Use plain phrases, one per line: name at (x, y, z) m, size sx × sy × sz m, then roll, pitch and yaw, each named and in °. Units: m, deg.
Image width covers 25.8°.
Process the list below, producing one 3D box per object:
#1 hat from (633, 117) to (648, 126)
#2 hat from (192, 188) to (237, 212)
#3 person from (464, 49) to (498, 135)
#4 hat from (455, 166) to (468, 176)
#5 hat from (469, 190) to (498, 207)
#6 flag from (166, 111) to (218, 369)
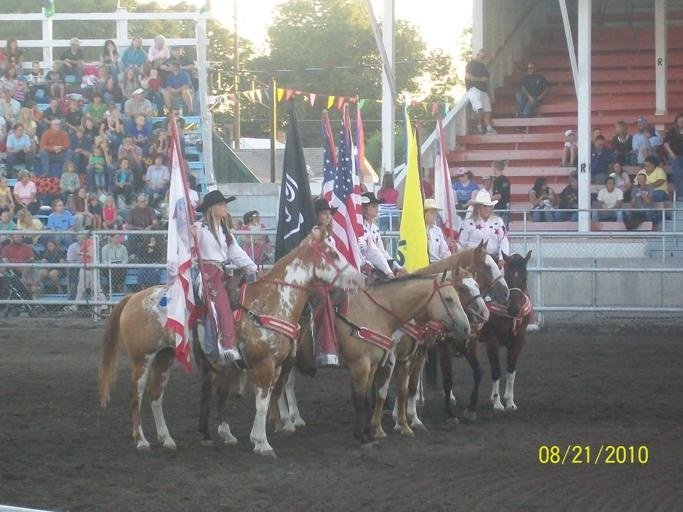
hat at (7.717, -3.466, 38.330) m, size 0.273 × 0.230 × 0.333 m, roll 1°, pitch -15°, yaw 8°
hat at (-2.265, -1.012, 26.968) m, size 0.467 × 0.191 × 0.426 m, roll -23°, pitch 2°, yaw 19°
person at (3.723, -4.387, 39.760) m, size 0.645 × 2.197 × 0.691 m, roll 1°, pitch 4°, yaw 45°
hat at (2.953, -2.107, 35.917) m, size 0.251 × 0.206 × 0.406 m, roll -2°, pitch -6°, yaw 21°
hat at (3.100, -1.245, 31.981) m, size 0.424 × 0.221 × 0.516 m, roll 2°, pitch -5°, yaw -13°
flag at (-2.836, -0.281, 26.732) m, size 0.612 × 4.529 × 0.692 m, roll -1°, pitch 3°, yaw 11°
